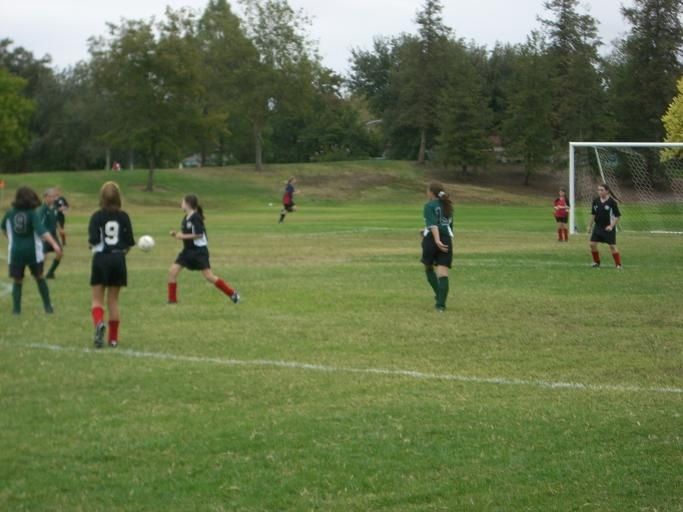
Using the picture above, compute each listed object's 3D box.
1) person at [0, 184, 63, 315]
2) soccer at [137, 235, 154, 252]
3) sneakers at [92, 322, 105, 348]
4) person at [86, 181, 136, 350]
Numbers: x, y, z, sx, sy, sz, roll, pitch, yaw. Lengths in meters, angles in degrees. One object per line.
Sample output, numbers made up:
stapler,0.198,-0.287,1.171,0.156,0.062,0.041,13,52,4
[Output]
person,-5.377,-0.111,14.673,0.941,2.171,1.037,-3,12,-18
soccer,-3.656,-0.232,15.878,0.250,0.378,0.947,-2,12,-9
sneakers,-3.568,1.152,12.468,0.150,0.415,0.183,6,0,-36
person,-3.456,0.115,12.558,0.547,2.337,0.825,3,12,12
